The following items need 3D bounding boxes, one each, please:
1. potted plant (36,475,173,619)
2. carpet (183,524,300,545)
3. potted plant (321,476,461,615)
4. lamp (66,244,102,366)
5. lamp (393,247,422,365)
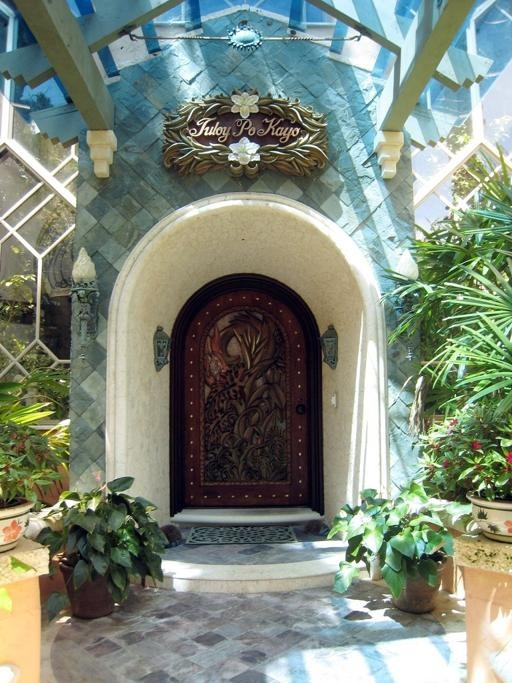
[{"bbox_3d":[-0.906,1.199,3.024,0.700,0.636,0.781,14,-5,-17],"label":"potted plant"},{"bbox_3d":[-0.114,1.557,4.229,0.851,0.033,0.585,-1,-3,0],"label":"carpet"},{"bbox_3d":[0.796,1.095,2.709,0.456,0.243,0.472,-12,-7,-18],"label":"potted plant"},{"bbox_3d":[-1.193,-0.260,3.666,0.171,0.823,0.096,-1,-4,-6],"label":"lamp"},{"bbox_3d":[1.048,-0.256,3.601,0.154,0.771,0.257,-2,-4,15],"label":"lamp"}]
